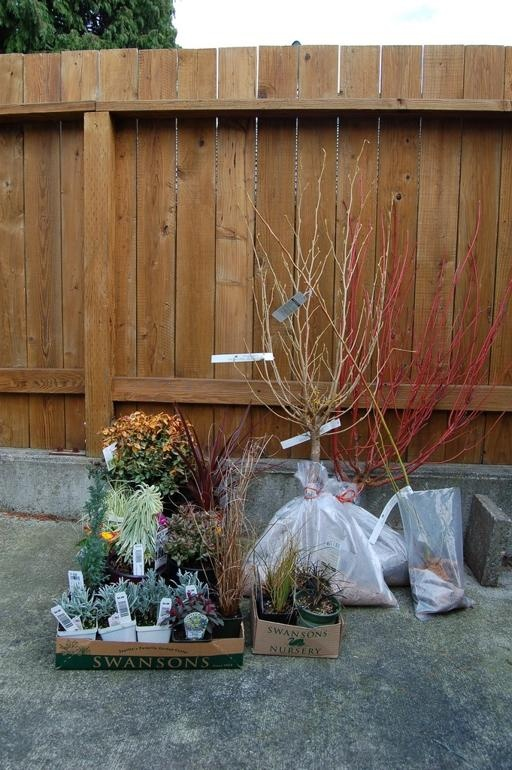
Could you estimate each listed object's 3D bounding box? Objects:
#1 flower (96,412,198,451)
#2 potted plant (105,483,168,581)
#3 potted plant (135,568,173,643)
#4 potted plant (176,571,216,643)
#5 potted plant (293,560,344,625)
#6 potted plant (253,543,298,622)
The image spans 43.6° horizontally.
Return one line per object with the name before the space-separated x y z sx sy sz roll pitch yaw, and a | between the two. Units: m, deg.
flower | -0.515 0.207 3.040 0.245 0.148 0.260 -2 2 -25
potted plant | -0.480 0.562 2.630 0.192 0.325 0.205 10 -16 -33
potted plant | -0.350 0.761 2.181 0.137 0.236 0.158 -2 18 -7
potted plant | -0.222 0.752 2.177 0.104 0.075 0.180 4 28 -18
potted plant | 0.225 0.753 2.364 0.121 0.147 0.121 7 1 -33
potted plant | 0.053 0.707 2.370 0.192 0.264 0.192 3 13 -3
